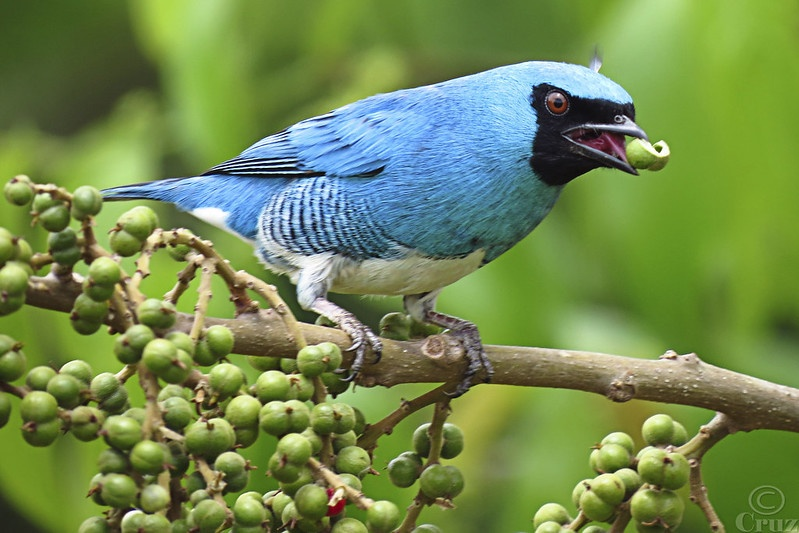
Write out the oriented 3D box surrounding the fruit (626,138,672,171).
[{"bbox_3d":[0.800,-0.361,3.440,0.118,0.069,0.111,6,11,-27],"label":"fruit"}]
